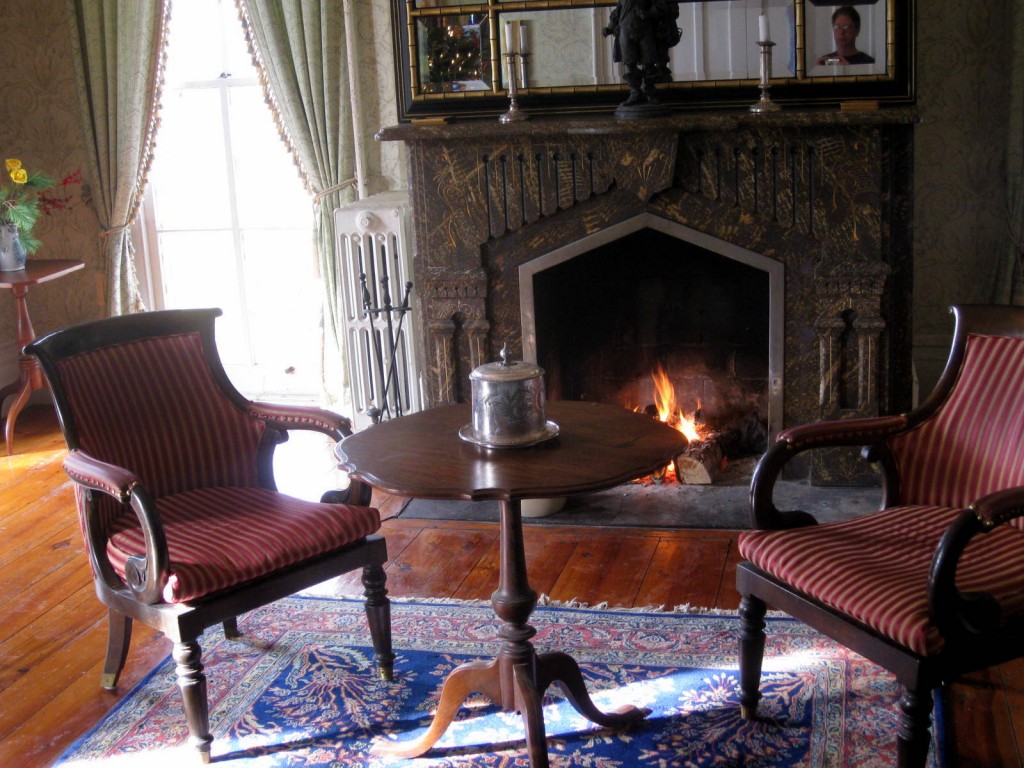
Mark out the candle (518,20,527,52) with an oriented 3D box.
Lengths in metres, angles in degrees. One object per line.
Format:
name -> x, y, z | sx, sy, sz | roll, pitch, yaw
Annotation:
candle -> 0.044, -1.381, 3.479 | 0.038, 0.130, 0.080 | -1, 14, 6

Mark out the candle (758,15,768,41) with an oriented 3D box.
candle -> 0.921, -1.321, 3.248 | 0.029, 0.119, 0.196 | 1, 14, 15

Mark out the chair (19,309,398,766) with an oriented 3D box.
chair -> -0.827, 0.338, 2.416 | 0.811, 0.974, 0.743 | 5, 15, 15

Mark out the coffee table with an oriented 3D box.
coffee table -> -0.043, 0.417, 2.314 | 0.850, 0.737, 0.844 | -4, 4, -14
